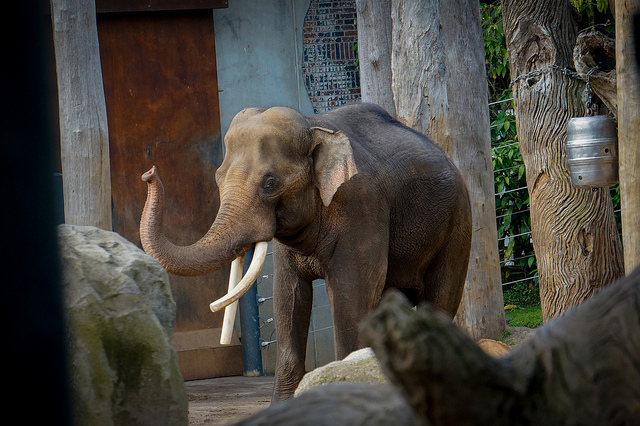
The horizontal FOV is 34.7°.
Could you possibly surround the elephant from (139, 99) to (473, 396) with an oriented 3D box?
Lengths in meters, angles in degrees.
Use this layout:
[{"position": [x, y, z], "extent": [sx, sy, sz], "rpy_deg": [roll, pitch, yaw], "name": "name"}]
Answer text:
[{"position": [0.009, 0.242, 5.354], "extent": [1.841, 1.648, 0.809], "rpy_deg": [-3, 6, -26], "name": "elephant"}]
